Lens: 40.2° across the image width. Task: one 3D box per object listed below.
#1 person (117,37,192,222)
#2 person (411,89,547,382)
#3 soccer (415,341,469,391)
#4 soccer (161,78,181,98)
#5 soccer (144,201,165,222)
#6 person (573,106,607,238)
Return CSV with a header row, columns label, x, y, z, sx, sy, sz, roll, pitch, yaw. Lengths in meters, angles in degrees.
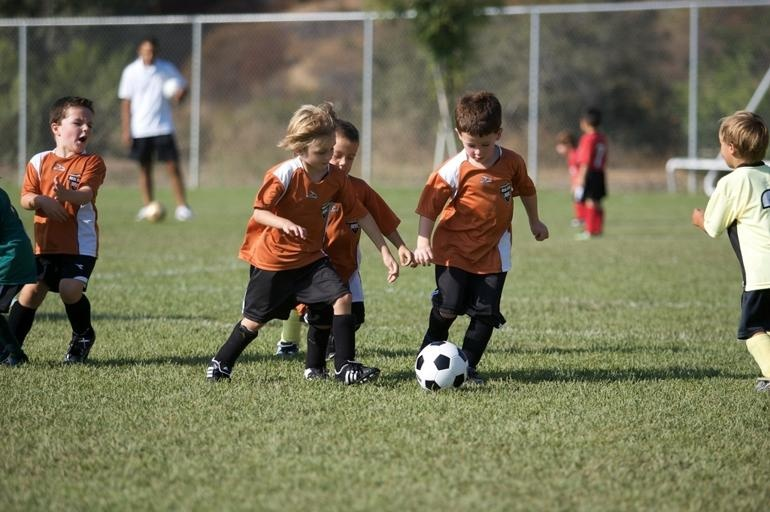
label,x,y,z,sx,sy,sz,roll,pitch,yaw
person,-3.109,-1.693,14.240,0.968,2.444,0.631,2,8,-8
person,0.717,-0.169,8.174,0.963,2.182,0.563,2,8,-2
soccer,0.410,0.800,7.988,0.377,0.372,0.344,-4,27,-35
soccer,-2.849,-2.244,14.162,0.265,0.275,0.144,7,9,26
soccer,-3.103,-0.582,14.208,0.225,0.273,0.326,0,9,-19
person,2.735,-1.100,13.897,0.404,1.645,1.290,4,8,10
